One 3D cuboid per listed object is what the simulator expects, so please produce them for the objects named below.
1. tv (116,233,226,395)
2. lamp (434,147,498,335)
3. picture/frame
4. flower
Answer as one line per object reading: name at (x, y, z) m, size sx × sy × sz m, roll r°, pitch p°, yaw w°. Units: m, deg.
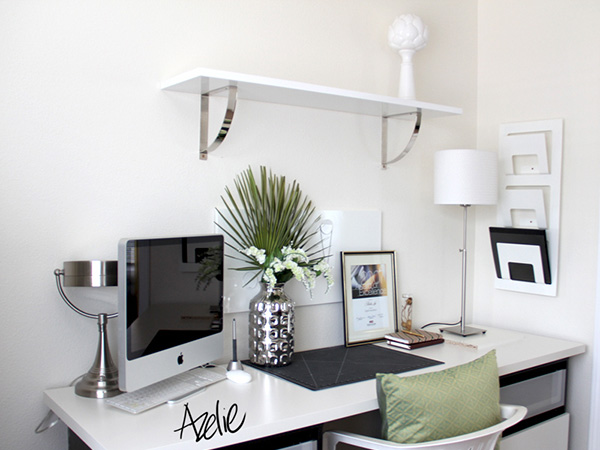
tv at (-0.453, 0.307, 1.618) m, size 0.054 × 0.621 × 0.520 m, roll 0°, pitch 0°, yaw 36°
lamp at (0.867, 0.096, 2.481) m, size 0.294 × 0.947 × 0.456 m, roll 0°, pitch 1°, yaw 21°
picture/frame at (0.317, 0.359, 2.270) m, size 0.393 × 0.533 × 0.034 m, roll 4°, pitch -10°, yaw -39°
flower at (-0.047, 0.042, 2.234) m, size 0.520 × 0.793 × 0.472 m, roll -2°, pitch -3°, yaw 39°
